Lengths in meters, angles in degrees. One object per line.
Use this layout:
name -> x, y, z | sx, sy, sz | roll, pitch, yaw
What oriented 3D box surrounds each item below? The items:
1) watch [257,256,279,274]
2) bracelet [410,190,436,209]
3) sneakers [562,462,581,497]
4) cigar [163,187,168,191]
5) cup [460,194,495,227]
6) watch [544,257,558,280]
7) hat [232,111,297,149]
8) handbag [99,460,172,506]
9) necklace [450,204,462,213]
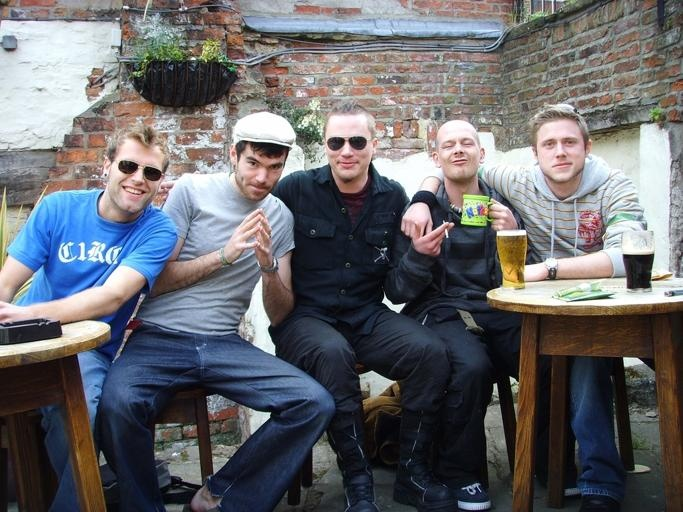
watch -> -0.371, 0.043, 2.879 | 0.085, 0.045, 0.091 | -8, 13, -30
bracelet -> 0.473, -0.321, 3.181 | 0.116, 0.105, 0.080 | -4, 15, 7
sneakers -> 1.203, 1.176, 2.956 | 0.068, 0.135, 0.203 | -1, 0, 18
cigar -> -0.928, -0.352, 2.972 | 0.014, 0.014, 0.015 | -5, -12, -7
cup -> 0.732, -0.232, 2.905 | 0.214, 0.146, 0.133 | 3, 6, 7
watch -> 1.065, 0.066, 2.896 | 0.066, 0.100, 0.092 | 3, 43, 8
hat -> -0.380, -0.608, 2.974 | 0.241, 0.116, 0.319 | 1, -4, -11
handbag -> -1.052, 1.149, 2.915 | 0.305, 0.136, 0.383 | -5, -4, 6
necklace -> 0.659, -0.274, 3.223 | 0.037, 0.024, 0.059 | -21, 30, -13
